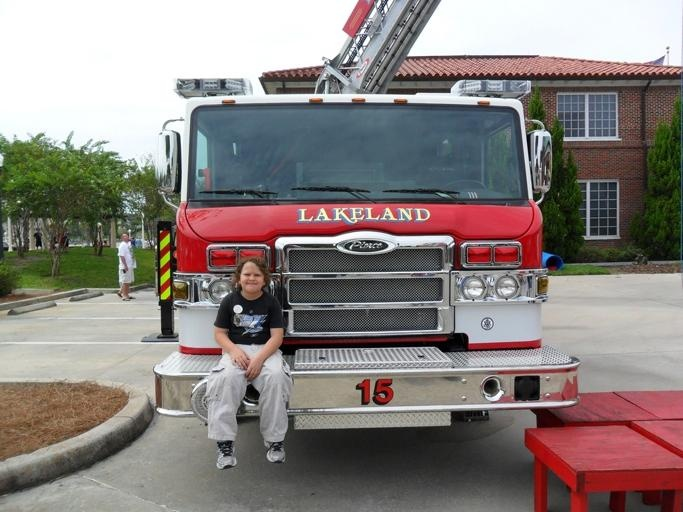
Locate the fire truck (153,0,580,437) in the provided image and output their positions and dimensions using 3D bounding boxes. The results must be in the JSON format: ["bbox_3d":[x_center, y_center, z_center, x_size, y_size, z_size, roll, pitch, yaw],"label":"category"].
[{"bbox_3d":[0.186,-0.097,7.552,2.682,3.030,5.114,0,1,-2],"label":"fire truck"}]

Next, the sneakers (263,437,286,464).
[{"bbox_3d":[-0.528,1.550,5.018,0.139,0.221,0.132,0,6,3],"label":"sneakers"}]

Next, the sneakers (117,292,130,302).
[{"bbox_3d":[-6.011,1.125,17.414,0.249,0.157,0.598,-1,2,-35],"label":"sneakers"}]

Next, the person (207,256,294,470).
[{"bbox_3d":[-0.765,0.813,5.107,0.664,1.586,0.569,-2,6,-12],"label":"person"}]

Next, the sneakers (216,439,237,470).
[{"bbox_3d":[-0.903,1.547,4.943,0.125,0.238,0.155,-1,6,-7],"label":"sneakers"}]

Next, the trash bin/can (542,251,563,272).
[{"bbox_3d":[3.014,0.082,8.966,0.183,0.163,0.663,13,13,-1],"label":"trash bin/can"}]
